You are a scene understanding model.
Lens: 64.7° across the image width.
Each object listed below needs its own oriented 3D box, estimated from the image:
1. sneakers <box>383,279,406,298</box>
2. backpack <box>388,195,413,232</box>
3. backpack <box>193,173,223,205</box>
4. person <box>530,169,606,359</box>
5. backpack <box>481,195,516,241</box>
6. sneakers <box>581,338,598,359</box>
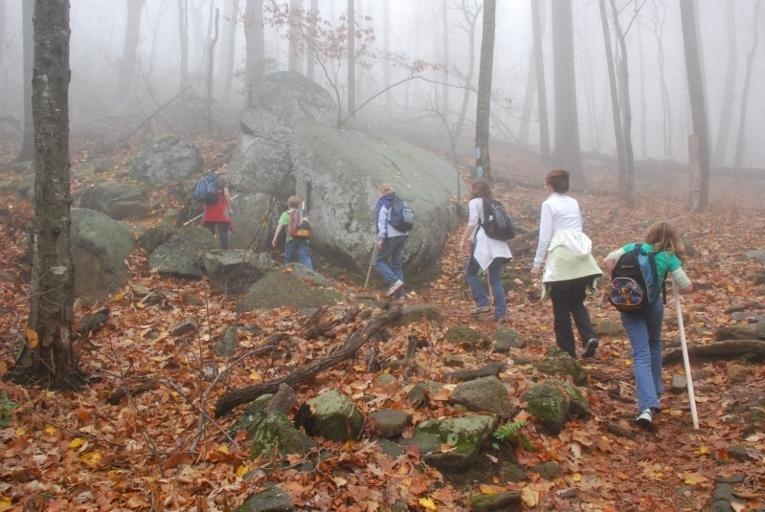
[{"bbox_3d":[0.334,0.809,15.648,0.240,0.646,0.295,3,48,-57],"label":"sneakers"},{"bbox_3d":[0.500,-1.102,15.567,0.484,0.848,0.642,-8,-8,37],"label":"backpack"},{"bbox_3d":[-4.882,-1.851,16.933,0.771,0.752,0.471,0,9,-17],"label":"backpack"},{"bbox_3d":[3.913,0.164,12.747,1.459,3.868,1.006,8,10,33],"label":"person"},{"bbox_3d":[2.715,-0.874,14.292,0.773,0.984,0.470,4,9,9],"label":"backpack"},{"bbox_3d":[4.349,1.872,12.567,0.210,0.515,0.258,7,37,0],"label":"sneakers"}]
